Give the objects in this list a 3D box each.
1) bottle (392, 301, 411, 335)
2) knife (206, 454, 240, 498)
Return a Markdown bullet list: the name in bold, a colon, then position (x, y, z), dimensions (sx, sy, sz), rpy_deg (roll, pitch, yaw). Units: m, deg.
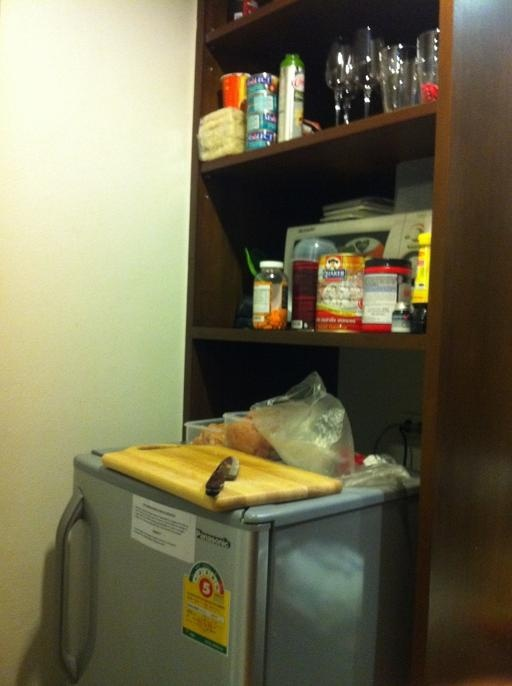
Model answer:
- **bottle**: position (0.231, -0.039, 0.901), dimensions (0.030, 0.037, 0.065), rpy_deg (6, 5, 10)
- **knife**: position (-0.050, 0.188, 0.808), dimensions (0.016, 0.018, 0.065), rpy_deg (-4, 27, 12)
